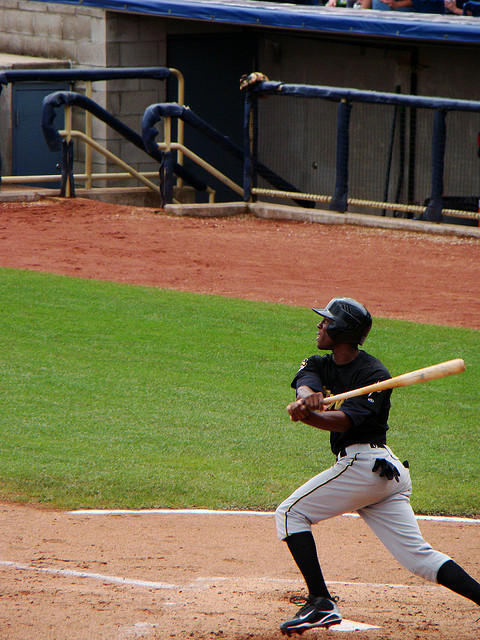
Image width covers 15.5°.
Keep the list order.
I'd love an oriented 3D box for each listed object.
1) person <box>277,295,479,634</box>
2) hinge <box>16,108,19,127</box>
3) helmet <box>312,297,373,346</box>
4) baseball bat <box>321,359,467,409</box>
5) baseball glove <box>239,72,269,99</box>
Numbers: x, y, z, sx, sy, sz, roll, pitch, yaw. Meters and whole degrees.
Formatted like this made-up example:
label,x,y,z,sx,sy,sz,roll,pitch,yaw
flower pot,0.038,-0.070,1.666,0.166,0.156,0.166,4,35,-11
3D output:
label,x,y,z,sx,sy,sz,roll,pitch,yaw
person,0.886,1.044,12.072,1.206,2.233,0.861,2,10,1
hinge,-3.326,-3.059,26.569,0.038,0.283,0.091,1,10,-6
helmet,0.732,0.009,12.208,0.337,0.323,0.277,6,4,-4
baseball bat,1.194,0.524,13.491,1.086,0.156,0.178,-16,-36,9
baseball glove,0.198,-3.409,25.184,0.403,0.238,0.321,7,12,21
